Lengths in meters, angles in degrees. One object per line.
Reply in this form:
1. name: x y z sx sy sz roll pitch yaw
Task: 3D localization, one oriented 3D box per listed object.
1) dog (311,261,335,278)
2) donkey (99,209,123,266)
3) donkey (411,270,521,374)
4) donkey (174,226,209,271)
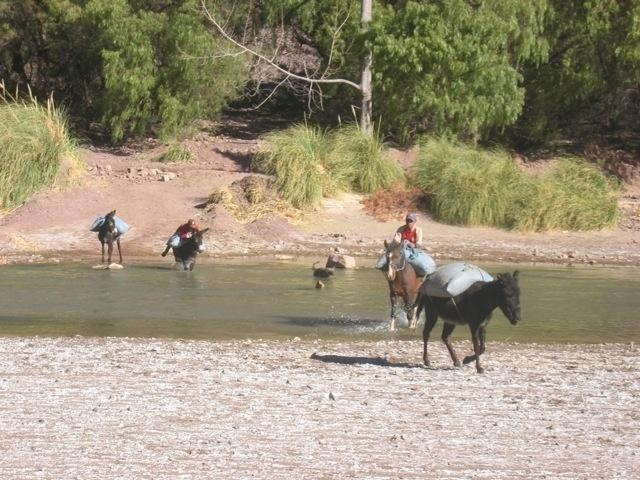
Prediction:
1. dog: 0.059 0.884 39.295 0.655 0.425 0.378 2 1 -1
2. donkey: -6.753 -0.147 41.883 0.471 1.201 1.782 0 -6 -16
3. donkey: 3.591 1.826 31.594 2.376 2.397 2.144 2 11 -8
4. donkey: -3.874 0.260 40.427 1.064 1.305 0.839 -3 11 -24
